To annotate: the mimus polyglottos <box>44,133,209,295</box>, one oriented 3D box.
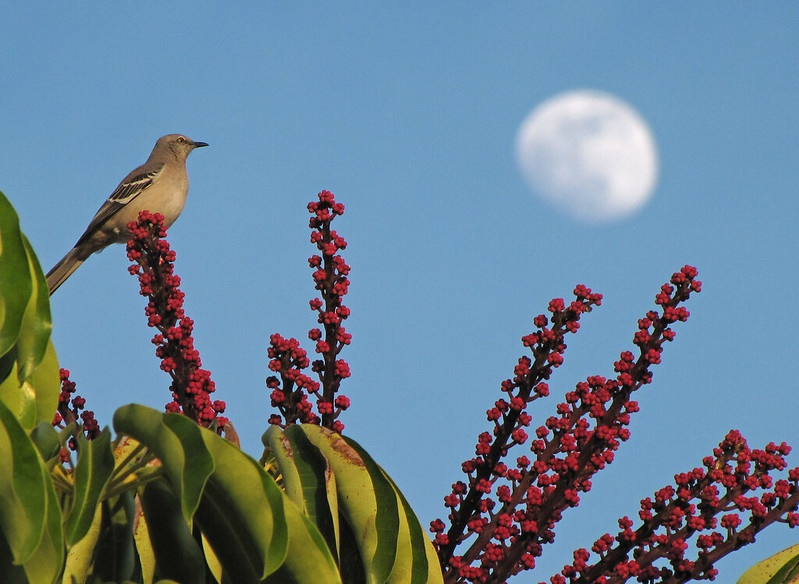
[{"bbox_3d":[-2.249,-0.662,15.452,1.480,1.052,0.501,-9,-18,12],"label":"mimus polyglottos"}]
